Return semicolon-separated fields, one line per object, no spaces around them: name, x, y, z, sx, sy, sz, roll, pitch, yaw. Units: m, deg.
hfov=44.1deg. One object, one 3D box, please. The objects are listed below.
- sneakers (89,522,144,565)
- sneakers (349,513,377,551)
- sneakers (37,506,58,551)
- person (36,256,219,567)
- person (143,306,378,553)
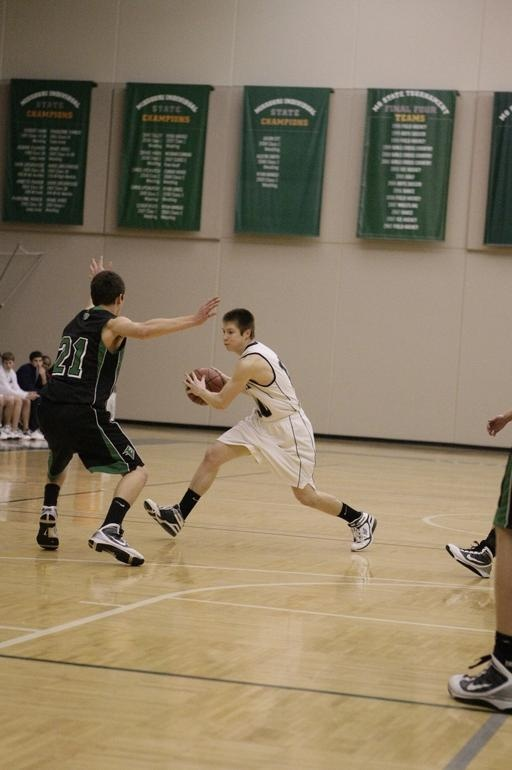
sneakers;-0.715;0.819;3.218;0.280;0.090;0.149;34;26;-23
sneakers;0.661;0.896;3.877;0.129;0.097;0.284;24;44;-7
sneakers;-1.093;0.773;3.362;0.107;0.239;0.117;-2;34;-6
person;-0.763;0.158;3.268;0.542;1.494;0.740;0;5;-41
person;0.065;0.286;3.940;1.475;1.396;0.592;4;0;12
